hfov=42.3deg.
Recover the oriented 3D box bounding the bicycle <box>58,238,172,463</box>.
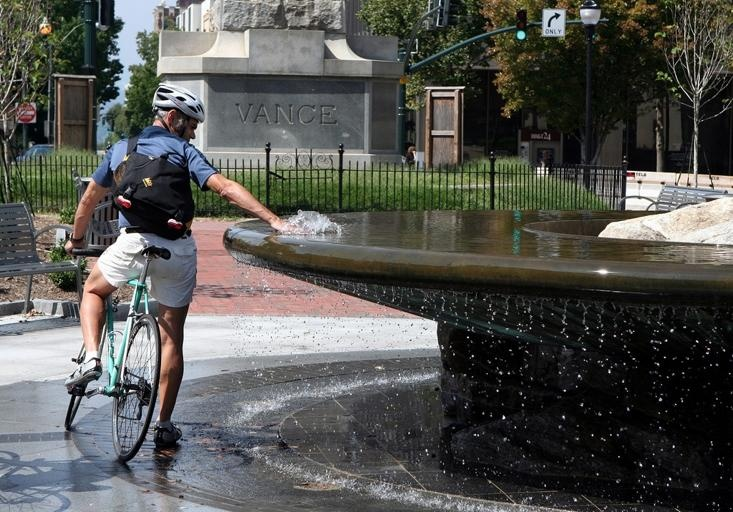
[{"bbox_3d":[-1.720,0.666,6.742,0.657,0.944,1.551,3,12,-26],"label":"bicycle"}]

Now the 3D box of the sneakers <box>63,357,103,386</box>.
[{"bbox_3d":[-1.873,0.763,6.226,0.122,0.175,0.335,31,-36,-26],"label":"sneakers"}]

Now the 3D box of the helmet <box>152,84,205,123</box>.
[{"bbox_3d":[-1.297,-1.063,6.561,0.355,0.233,0.274,15,3,4],"label":"helmet"}]

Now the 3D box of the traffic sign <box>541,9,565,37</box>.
[{"bbox_3d":[5.329,-6.669,26.939,0.621,0.865,0.805,1,4,9],"label":"traffic sign"}]
